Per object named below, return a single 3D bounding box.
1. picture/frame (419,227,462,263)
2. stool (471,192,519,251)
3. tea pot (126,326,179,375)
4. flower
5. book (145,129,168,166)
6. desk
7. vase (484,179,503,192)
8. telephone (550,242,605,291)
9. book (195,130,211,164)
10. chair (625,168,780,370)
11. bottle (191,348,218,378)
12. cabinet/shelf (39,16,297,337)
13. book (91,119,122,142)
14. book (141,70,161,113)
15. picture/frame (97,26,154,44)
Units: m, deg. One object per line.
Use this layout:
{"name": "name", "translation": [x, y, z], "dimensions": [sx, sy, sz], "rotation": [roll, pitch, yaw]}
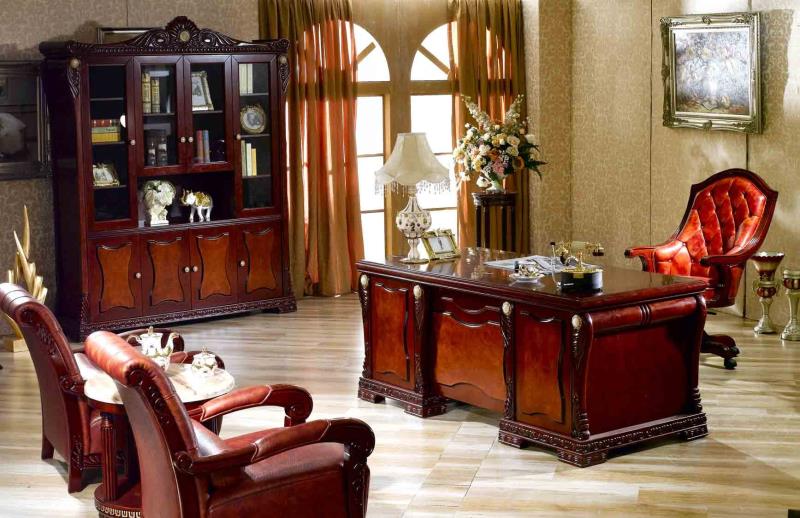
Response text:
{"name": "picture/frame", "translation": [0.338, -0.114, 5.820], "dimensions": [0.414, 0.408, 0.063], "rotation": [-5, -26, -31]}
{"name": "stool", "translation": [1.323, -0.450, 8.467], "dimensions": [0.444, 0.680, 0.467], "rotation": [1, 2, -11]}
{"name": "tea pot", "translation": [-1.579, 0.567, 4.321], "dimensions": [0.356, 0.293, 0.194], "rotation": [-2, 16, 12]}
{"name": "flower", "translation": [1.154, -1.234, 7.783], "dimensions": [0.694, 0.915, 0.729], "rotation": [8, 12, 31]}
{"name": "book", "translation": [-2.698, -1.244, 7.487], "dimensions": [0.252, 0.402, 0.055], "rotation": [-7, 13, -25]}
{"name": "desk", "translation": [0.930, 0.714, 5.058], "dimensions": [2.504, 1.170, 0.931], "rotation": [6, 14, 29]}
{"name": "vase", "translation": [1.116, -0.849, 7.836], "dimensions": [0.136, 0.087, 0.136], "rotation": [-1, 3, -27]}
{"name": "telephone", "translation": [1.249, 0.047, 4.721], "dimensions": [0.363, 0.318, 0.297], "rotation": [0, 11, 30]}
{"name": "book", "translation": [-2.265, -1.291, 7.724], "dimensions": [0.120, 0.343, 0.344], "rotation": [-1, 8, -12]}
{"name": "chair", "translation": [2.924, 0.061, 6.696], "dimensions": [1.244, 1.879, 1.141], "rotation": [-6, 9, -38]}
{"name": "bottle", "translation": [-1.248, 0.674, 4.369], "dimensions": [0.158, 0.163, 0.162], "rotation": [1, 0, 2]}
{"name": "cabinet/shelf", "translation": [-2.682, -0.917, 7.506], "dimensions": [3.251, 4.215, 1.114], "rotation": [-5, 9, -36]}
{"name": "book", "translation": [-3.130, -1.360, 7.225], "dimensions": [0.310, 0.313, 0.225], "rotation": [-1, 14, -20]}
{"name": "book", "translation": [-2.728, -1.842, 7.371], "dimensions": [0.238, 0.390, 0.402], "rotation": [0, 14, -4]}
{"name": "picture/frame", "translation": [-3.063, -2.483, 7.500], "dimensions": [0.369, 0.222, 0.021], "rotation": [-2, 3, -20]}
